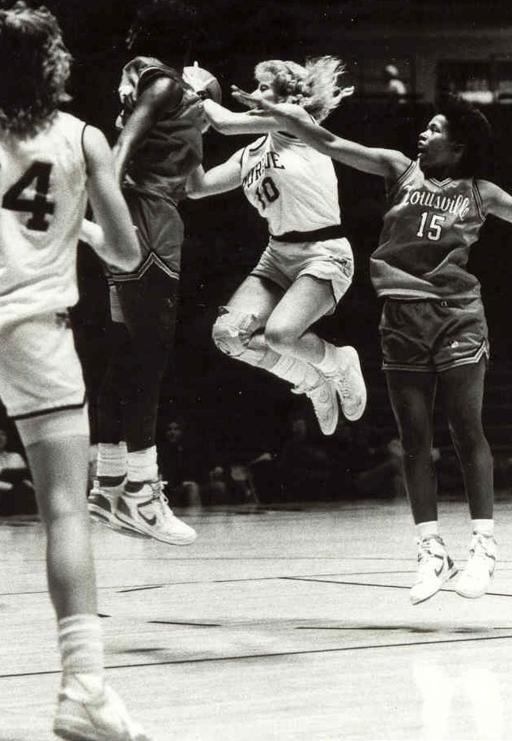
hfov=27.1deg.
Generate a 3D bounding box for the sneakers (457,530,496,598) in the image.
[{"bbox_3d":[0.692,0.594,3.268,0.097,0.107,0.285,2,9,19],"label":"sneakers"}]

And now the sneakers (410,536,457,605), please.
[{"bbox_3d":[0.548,0.625,3.279,0.123,0.216,0.405,-1,-2,12],"label":"sneakers"}]
